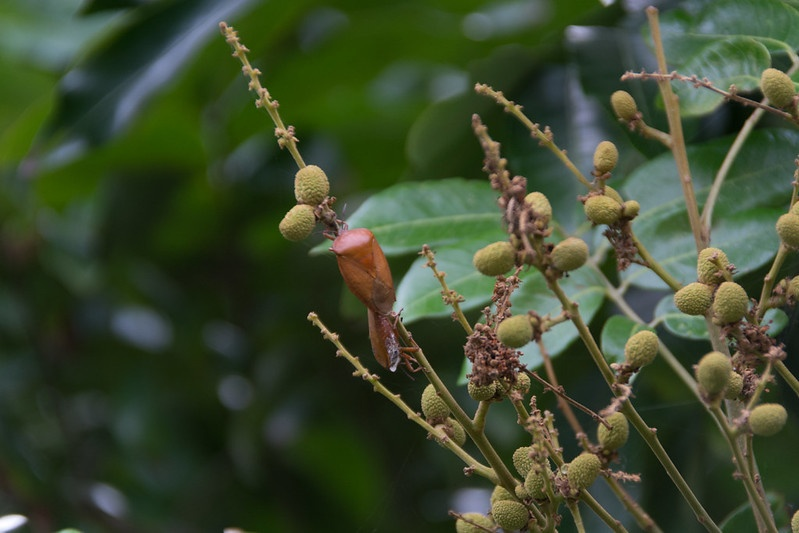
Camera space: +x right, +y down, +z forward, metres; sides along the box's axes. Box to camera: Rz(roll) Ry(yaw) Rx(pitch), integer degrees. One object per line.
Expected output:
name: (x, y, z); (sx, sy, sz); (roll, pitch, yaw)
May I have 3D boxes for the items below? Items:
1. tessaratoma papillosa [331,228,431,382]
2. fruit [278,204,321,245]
tessaratoma papillosa: (-0.019, 0.037, 0.885); (0.074, 0.136, 0.042); (-14, 6, 29)
fruit: (-0.101, -0.034, 0.869); (0.035, 0.030, 0.028); (-38, 52, 6)
